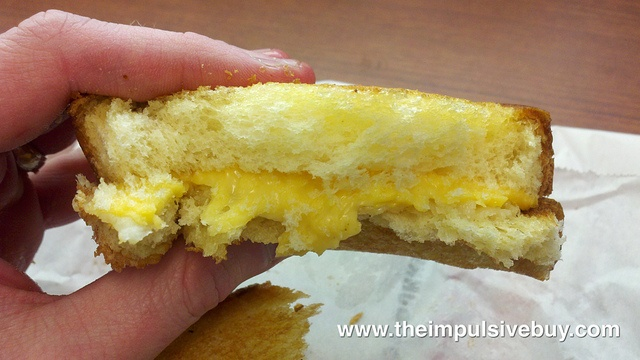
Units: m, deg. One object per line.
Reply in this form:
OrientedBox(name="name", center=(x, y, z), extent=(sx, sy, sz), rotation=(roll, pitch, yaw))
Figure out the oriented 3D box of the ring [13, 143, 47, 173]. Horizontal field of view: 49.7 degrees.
OrientedBox(name="ring", center=(-1.168, -0.088, 2.761), extent=(0.108, 0.024, 0.101), rotation=(5, 81, -38))
